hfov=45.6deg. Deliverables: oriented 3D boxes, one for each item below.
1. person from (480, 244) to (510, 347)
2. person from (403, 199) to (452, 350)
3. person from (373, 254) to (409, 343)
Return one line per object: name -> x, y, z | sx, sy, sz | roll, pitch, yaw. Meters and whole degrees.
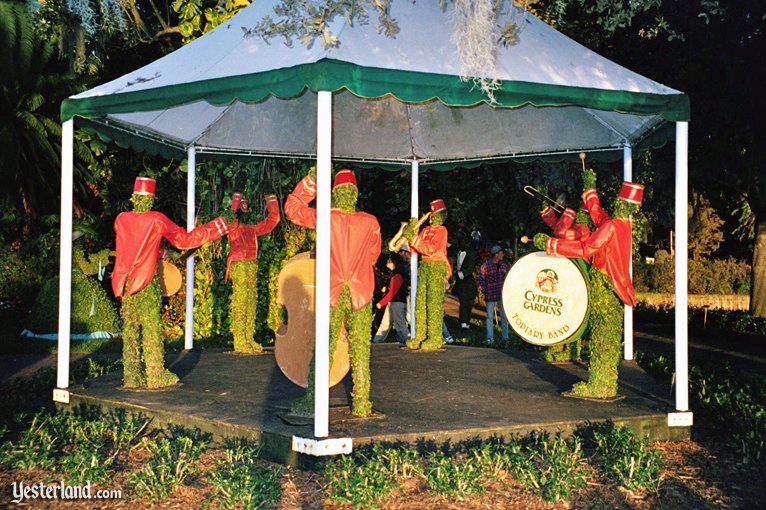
person -> 2.550, 0.883, 20.151 | 0.665, 2.491, 0.760 | 1, -19, -3
person -> 0.851, 0.393, 16.692 | 0.752, 2.694, 0.762 | 1, 13, 9
person -> 0.205, 0.996, 20.196 | 0.727, 2.072, 0.678 | 2, 14, 11
